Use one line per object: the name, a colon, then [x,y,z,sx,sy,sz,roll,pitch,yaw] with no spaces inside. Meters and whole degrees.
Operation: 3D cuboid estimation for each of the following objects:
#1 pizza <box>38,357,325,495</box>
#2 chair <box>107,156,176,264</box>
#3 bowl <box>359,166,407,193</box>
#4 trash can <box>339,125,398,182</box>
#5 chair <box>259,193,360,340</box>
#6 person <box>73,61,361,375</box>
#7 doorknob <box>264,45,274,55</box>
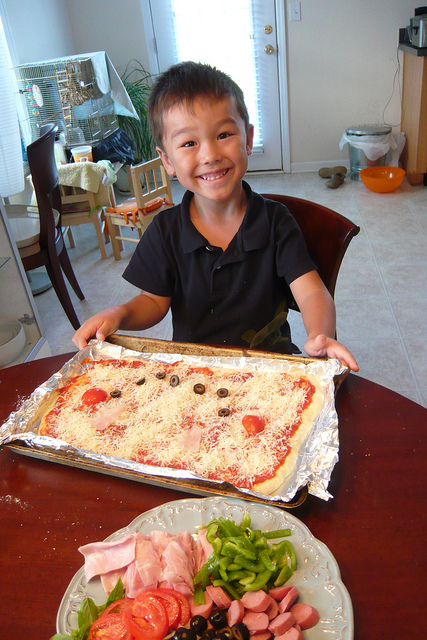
pizza: [-0.060,0.187,0.873,0.355,0.064,0.243,3,30,23]
chair: [-0.564,-0.886,3.585,0.395,0.719,0.457,19,38,37]
bowl: [1.622,-1.343,4.445,0.369,0.205,0.389,-7,25,3]
trash can: [1.574,-1.625,4.674,0.362,0.373,0.402,28,28,33]
chair: [0.250,-0.085,1.481,0.346,0.484,0.356,8,63,14]
person: [-0.017,-0.217,1.190,0.624,0.806,0.519,-2,25,15]
doorknob: [0.576,-2.769,4.751,0.097,0.089,0.028,-8,24,1]
